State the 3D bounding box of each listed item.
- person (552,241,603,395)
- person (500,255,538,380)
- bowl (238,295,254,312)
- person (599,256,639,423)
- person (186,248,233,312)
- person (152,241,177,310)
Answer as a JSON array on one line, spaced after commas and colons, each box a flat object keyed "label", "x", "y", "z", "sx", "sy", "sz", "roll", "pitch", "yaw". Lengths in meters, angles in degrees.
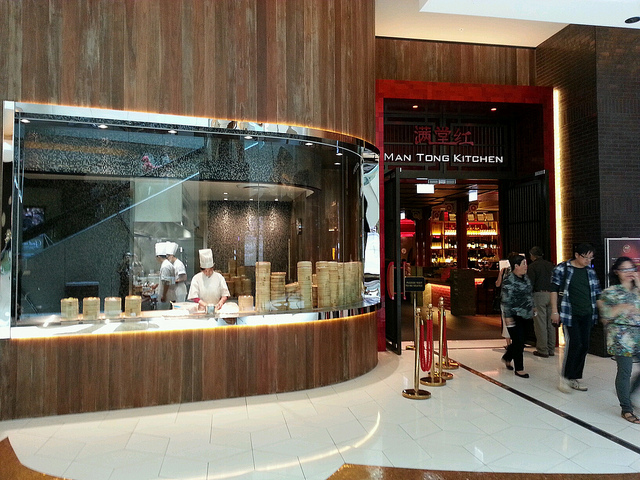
[{"label": "person", "x": 3.072, "y": 0.936, "z": 6.236, "sx": 0.524, "sy": 1.792, "sz": 0.336, "roll": 1, "pitch": 3, "yaw": 19}, {"label": "person", "x": 2.645, "y": 1.002, "z": 6.897, "sx": 0.420, "sy": 1.597, "sz": 0.461, "roll": 1, "pitch": 2, "yaw": 9}, {"label": "bowl", "x": -0.845, "y": 0.738, "z": 6.068, "sx": 0.167, "sy": 0.207, "sz": 0.175, "roll": 0, "pitch": -2, "yaw": 0}, {"label": "person", "x": 3.209, "y": 1.038, "z": 5.554, "sx": 0.386, "sy": 1.681, "sz": 0.351, "roll": 2, "pitch": 3, "yaw": 29}, {"label": "person", "x": -1.244, "y": 0.498, "z": 5.891, "sx": 0.496, "sy": 0.778, "sz": 0.438, "roll": -3, "pitch": 8, "yaw": -22}, {"label": "person", "x": -1.719, "y": 0.406, "z": 5.786, "sx": 0.254, "sy": 0.754, "sz": 0.085, "roll": -1, "pitch": 3, "yaw": -17}]
